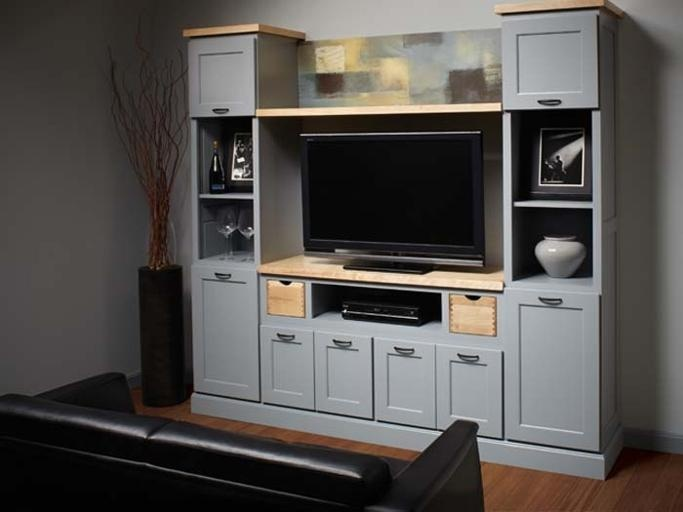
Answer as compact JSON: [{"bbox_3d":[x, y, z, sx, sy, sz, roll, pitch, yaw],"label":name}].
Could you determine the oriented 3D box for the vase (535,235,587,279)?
[{"bbox_3d":[1.229,-0.010,3.107,0.242,0.203,0.246,1,7,12],"label":"vase"}]

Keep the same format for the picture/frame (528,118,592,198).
[{"bbox_3d":[1.233,-0.547,3.099,0.449,0.552,0.040,1,-3,23],"label":"picture/frame"}]

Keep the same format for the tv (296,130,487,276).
[{"bbox_3d":[0.351,-0.340,3.455,0.913,0.656,0.158,1,5,20],"label":"tv"}]
